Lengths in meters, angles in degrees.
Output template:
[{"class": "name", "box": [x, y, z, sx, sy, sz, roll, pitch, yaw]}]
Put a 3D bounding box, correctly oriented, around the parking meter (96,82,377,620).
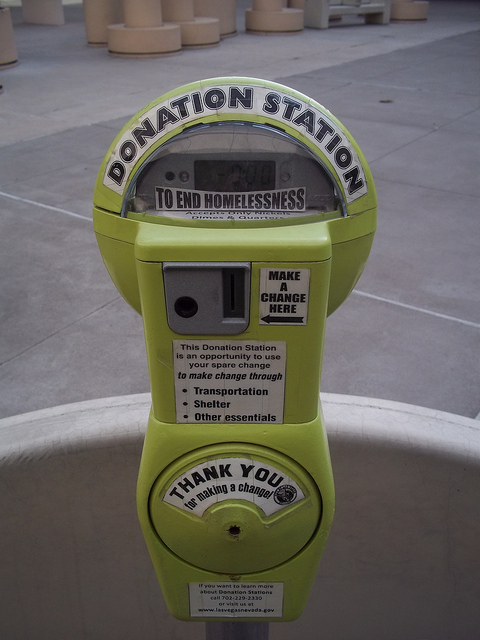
[{"class": "parking meter", "box": [0.016, 0.047, 1.135, 0.512, 0.924, 0.620, -3, 18, -5]}]
